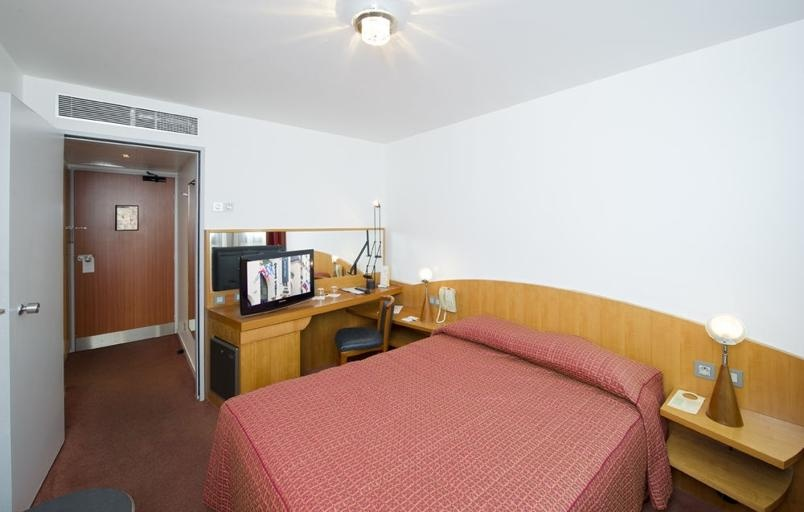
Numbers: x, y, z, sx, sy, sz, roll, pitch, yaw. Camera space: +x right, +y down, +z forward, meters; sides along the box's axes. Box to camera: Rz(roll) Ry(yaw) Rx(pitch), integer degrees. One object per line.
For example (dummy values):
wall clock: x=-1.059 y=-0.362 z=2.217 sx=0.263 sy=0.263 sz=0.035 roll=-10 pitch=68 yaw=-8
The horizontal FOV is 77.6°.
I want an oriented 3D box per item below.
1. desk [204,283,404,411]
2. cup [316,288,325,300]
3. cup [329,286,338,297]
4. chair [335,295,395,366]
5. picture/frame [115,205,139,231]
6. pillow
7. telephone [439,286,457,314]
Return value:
desk: x=-1.108 y=0.994 z=5.894 sx=0.636 sy=1.033 sz=2.171 roll=10 pitch=10 yaw=33
cup: x=-0.962 y=0.457 z=5.936 sx=0.108 sy=0.125 sz=0.112 roll=-2 pitch=1 yaw=0
cup: x=-0.815 y=0.435 z=6.032 sx=0.103 sy=0.069 sz=0.106 roll=-1 pitch=7 yaw=0
chair: x=-0.438 y=1.005 z=5.849 sx=0.660 sy=1.025 sz=0.646 roll=-4 pitch=10 yaw=-10
picture/frame: x=-3.668 y=-0.507 z=6.663 sx=0.335 sy=0.426 sz=0.044 roll=-2 pitch=3 yaw=-42
pillow: x=1.302 y=1.323 z=4.123 sx=1.430 sy=0.742 sz=0.473 roll=9 pitch=9 yaw=40
telephone: x=0.547 y=0.522 z=5.867 sx=0.224 sy=0.282 sz=0.070 roll=7 pitch=7 yaw=39
